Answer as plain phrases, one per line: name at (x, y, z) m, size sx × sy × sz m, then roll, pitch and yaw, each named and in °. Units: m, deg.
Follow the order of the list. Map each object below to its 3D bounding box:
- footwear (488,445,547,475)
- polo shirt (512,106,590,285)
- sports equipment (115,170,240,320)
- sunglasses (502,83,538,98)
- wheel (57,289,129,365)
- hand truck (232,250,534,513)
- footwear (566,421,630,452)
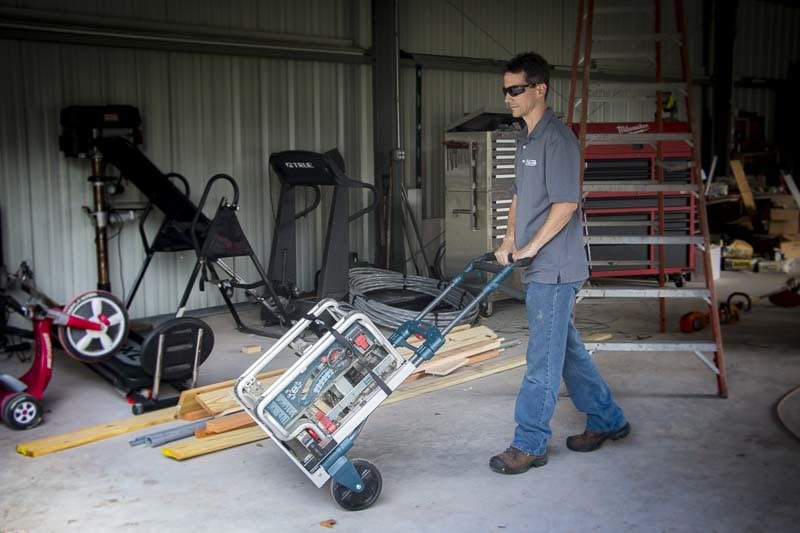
footwear at (0.768, 1.293, 4.384) m, size 0.382 × 0.191 × 0.159 m, roll 0°, pitch 4°, yaw -9°
polo shirt at (0.989, -0.449, 4.333) m, size 0.461 × 1.139 × 0.370 m, roll -2°, pitch 12°, yaw 8°
sports equipment at (-2.112, -0.157, 6.997) m, size 1.246 × 1.733 × 1.371 m, roll 10°, pitch 8°, yaw 41°
sunglasses at (0.772, -1.137, 4.275) m, size 0.233 × 0.075 × 0.116 m, roll 3°, pitch 14°, yaw 28°
wheel at (-2.470, 0.516, 5.289) m, size 0.651 × 0.668 × 0.207 m, roll -3°, pitch 8°, yaw -16°
hand truck at (-0.130, 0.889, 5.015) m, size 1.728 × 0.930 × 0.572 m, roll -41°, pitch 21°, yaw -3°
footwear at (1.420, 1.203, 4.751) m, size 0.480 × 0.225 × 0.177 m, roll -6°, pitch 10°, yaw -14°
